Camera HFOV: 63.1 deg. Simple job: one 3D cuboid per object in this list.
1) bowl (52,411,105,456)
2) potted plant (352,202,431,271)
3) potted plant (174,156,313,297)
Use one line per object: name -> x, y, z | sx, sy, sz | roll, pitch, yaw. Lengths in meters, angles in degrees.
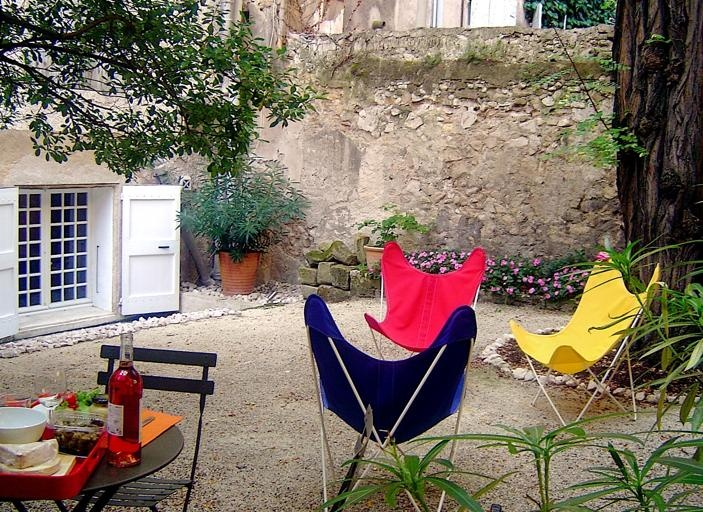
bowl -> -0.917, 0.608, 1.938 | 0.158, 0.077, 0.134 | 5, 22, 1
potted plant -> 0.492, -0.244, 7.613 | 1.034, 0.888, 0.863 | 2, -4, -6
potted plant -> -1.506, -0.424, 8.168 | 1.758, 1.893, 1.096 | -5, 11, -15
